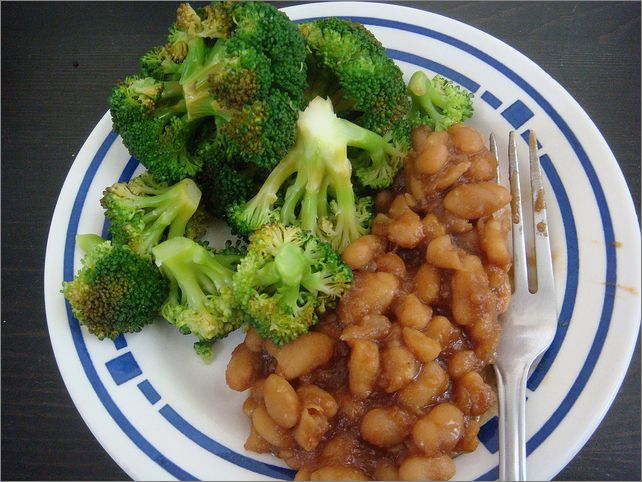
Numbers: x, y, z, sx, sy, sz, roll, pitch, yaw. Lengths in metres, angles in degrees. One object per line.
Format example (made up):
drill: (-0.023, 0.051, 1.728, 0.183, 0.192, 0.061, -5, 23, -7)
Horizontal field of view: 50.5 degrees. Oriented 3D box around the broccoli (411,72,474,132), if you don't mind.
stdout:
broccoli: (0.744, -0.852, 4.310, 0.368, 0.162, 0.411, 14, 79, 1)
